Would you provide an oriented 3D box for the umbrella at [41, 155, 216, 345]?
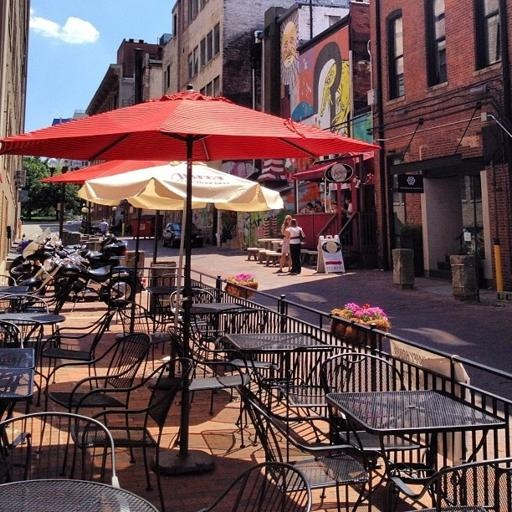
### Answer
[{"bbox_3d":[-1.449,-0.550,8.248,1.550,1.795,1.663,-4,-37,-9],"label":"umbrella"}]

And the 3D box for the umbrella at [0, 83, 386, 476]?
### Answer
[{"bbox_3d":[-0.608,0.283,6.420,3.545,3.147,3.440,0,8,-2],"label":"umbrella"}]

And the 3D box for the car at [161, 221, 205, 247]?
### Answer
[{"bbox_3d":[-4.172,-1.394,37.295,1.752,1.307,3.004,0,-1,-24],"label":"car"}]

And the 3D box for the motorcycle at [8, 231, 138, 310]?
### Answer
[{"bbox_3d":[-3.650,0.390,13.594,3.343,1.742,1.826,4,0,-4],"label":"motorcycle"}]

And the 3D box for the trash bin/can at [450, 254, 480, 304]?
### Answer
[{"bbox_3d":[4.741,0.489,14.882,0.632,1.009,0.627,-2,6,39],"label":"trash bin/can"}]
